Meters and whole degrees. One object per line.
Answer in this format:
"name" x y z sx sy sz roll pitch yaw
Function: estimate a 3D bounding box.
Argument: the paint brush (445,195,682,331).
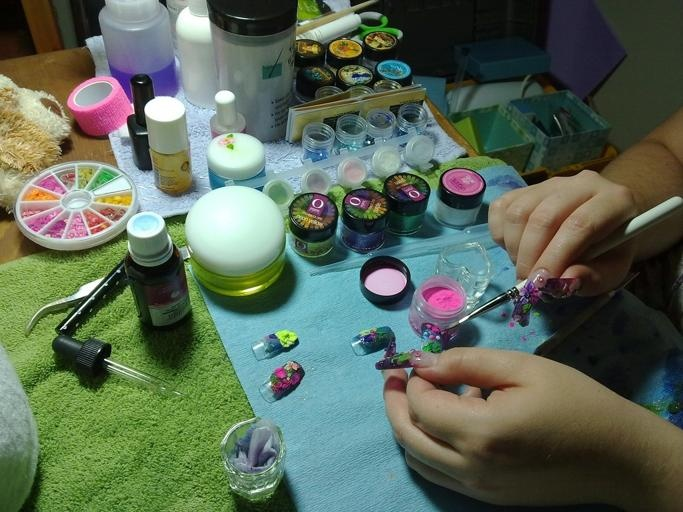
"paint brush" 0.370 0.004 0.870 0.420 0.150 0.035 -35 42 -1
